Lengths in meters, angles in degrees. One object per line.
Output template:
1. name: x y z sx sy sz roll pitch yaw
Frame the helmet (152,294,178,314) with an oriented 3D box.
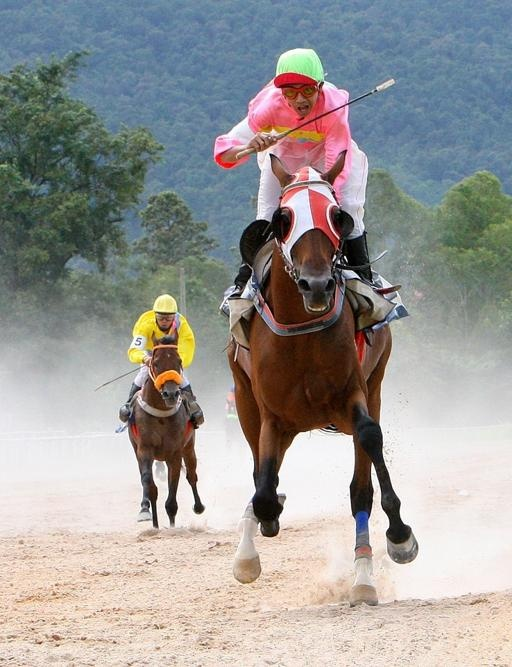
1. helmet: -1.094 -0.357 12.445 0.229 0.147 0.306 1 2 -4

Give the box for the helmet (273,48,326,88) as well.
1. helmet: 0.290 -1.738 6.953 0.220 0.155 0.319 -3 -22 9

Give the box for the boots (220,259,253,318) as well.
1. boots: -0.148 -0.347 7.610 0.185 0.477 0.232 22 4 2
